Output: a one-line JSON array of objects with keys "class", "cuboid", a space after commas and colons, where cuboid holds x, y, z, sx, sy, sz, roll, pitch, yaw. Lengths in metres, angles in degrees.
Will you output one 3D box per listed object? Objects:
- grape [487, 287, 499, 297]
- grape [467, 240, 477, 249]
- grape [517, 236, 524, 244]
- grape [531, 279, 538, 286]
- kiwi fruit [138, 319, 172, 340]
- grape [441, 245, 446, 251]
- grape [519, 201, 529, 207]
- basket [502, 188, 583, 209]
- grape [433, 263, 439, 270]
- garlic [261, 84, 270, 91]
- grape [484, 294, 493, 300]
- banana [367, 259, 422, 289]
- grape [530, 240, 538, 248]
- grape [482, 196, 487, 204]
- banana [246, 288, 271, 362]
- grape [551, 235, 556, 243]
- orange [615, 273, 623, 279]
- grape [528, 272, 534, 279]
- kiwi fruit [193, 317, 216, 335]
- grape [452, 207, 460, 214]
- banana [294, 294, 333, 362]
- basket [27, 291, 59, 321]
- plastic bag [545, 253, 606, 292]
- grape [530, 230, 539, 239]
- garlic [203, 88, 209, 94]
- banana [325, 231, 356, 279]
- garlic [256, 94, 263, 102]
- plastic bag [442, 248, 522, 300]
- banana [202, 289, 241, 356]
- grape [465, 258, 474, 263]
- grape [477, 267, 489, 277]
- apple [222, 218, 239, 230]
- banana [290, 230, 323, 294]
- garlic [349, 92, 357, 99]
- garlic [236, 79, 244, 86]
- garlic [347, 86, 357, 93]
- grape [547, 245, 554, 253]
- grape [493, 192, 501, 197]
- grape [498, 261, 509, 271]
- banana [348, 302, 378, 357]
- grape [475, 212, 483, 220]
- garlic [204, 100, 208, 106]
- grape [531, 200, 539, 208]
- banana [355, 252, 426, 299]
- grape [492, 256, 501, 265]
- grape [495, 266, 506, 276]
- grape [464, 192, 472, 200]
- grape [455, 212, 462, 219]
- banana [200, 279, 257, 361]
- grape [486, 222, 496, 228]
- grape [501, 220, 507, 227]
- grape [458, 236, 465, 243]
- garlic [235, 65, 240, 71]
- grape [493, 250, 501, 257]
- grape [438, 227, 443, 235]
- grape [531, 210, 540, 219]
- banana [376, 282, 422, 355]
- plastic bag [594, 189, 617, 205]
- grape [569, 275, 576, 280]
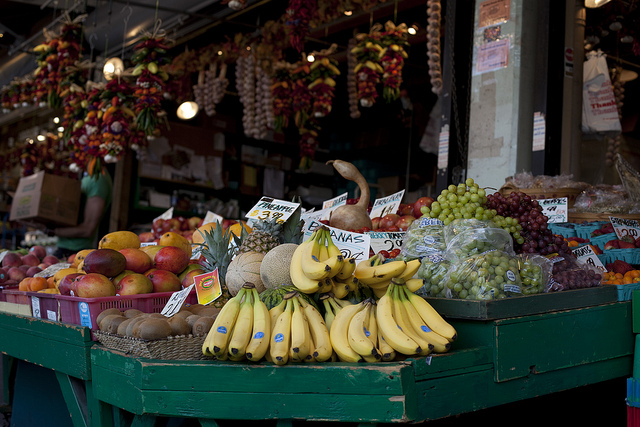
[{"class": "grape", "cuboid": [0.973, 0.444, 3.015, 0.041, 0.045, 0.024, -5, -13, 10]}, {"class": "grape", "cuboid": [0.893, 0.184, 3.131, 0.050, 0.043, 0.041, -35, 20, -27]}, {"class": "grape", "cuboid": [1.268, 0.172, 3.384, 0.034, 0.044, 0.036, -2, 18, -1]}, {"class": "grape", "cuboid": [1.252, 0.404, 3.120, 0.031, 0.041, 0.033, -4, 6, -7]}, {"class": "kiwi fruit", "cuboid": [-0.861, 0.602, 2.797, 0.118, 0.074, 0.093, 1, -14, 21]}, {"class": "grape", "cuboid": [0.745, 0.209, 3.219, 0.028, 0.023, 0.028, 6, -6, -40]}, {"class": "grape", "cuboid": [1.326, -0.055, 3.478, 0.053, 0.038, 0.015, 0, -4, -6]}, {"class": "basket", "cuboid": [1.765, -0.151, 4.223, 0.559, 0.142, 0.418, 2, 10, 34]}, {"class": "grape", "cuboid": [0.687, 0.310, 3.144, 0.024, 0.032, 0.026, -1, -4, 7]}, {"class": "garlic", "cuboid": [-0.648, -1.479, 6.384, 0.119, 0.085, 0.038, -3, -5, 28]}, {"class": "grape", "cuboid": [0.945, 0.465, 2.986, 0.041, 0.023, 0.066, -2, -4, 14]}, {"class": "banana", "cuboid": [0.417, 0.313, 3.042, 0.287, 0.172, 0.230, -2, 7, -28]}, {"class": "grape", "cuboid": [1.351, 0.197, 3.382, 0.066, 0.043, 0.025, 3, -5, -43]}, {"class": "grape", "cuboid": [1.057, -0.082, 3.423, 0.019, 0.040, 0.039, 16, 45, 29]}, {"class": "banana", "cuboid": [-0.321, 0.590, 2.766, 0.130, 0.274, 0.110, -4, 7, -15]}, {"class": "grape", "cuboid": [1.503, 0.169, 3.442, 0.026, 0.048, 0.036, 14, -35, -18]}, {"class": "orange", "cuboid": [2.026, 0.423, 3.624, 0.034, 0.037, 0.037, -2, -36, 11]}, {"class": "grape", "cuboid": [1.227, 0.363, 3.114, 0.022, 0.032, 0.017, 0, 13, 34]}, {"class": "kiwi fruit", "cuboid": [-0.632, 0.601, 2.881, 0.066, 0.060, 0.099, 5, 4, 20]}, {"class": "grape", "cuboid": [0.865, -0.015, 3.391, 0.029, 0.028, 0.033, -43, -14, -21]}, {"class": "banana", "cuboid": [-0.021, 0.596, 2.769, 0.182, 0.251, 0.160, 0, 4, -6]}, {"class": "basket", "cuboid": [-1.822, 0.605, 3.544, 0.159, 0.111, 0.237, 6, -13, -34]}, {"class": "plastic bag", "cuboid": [1.571, 0.356, 3.483, 0.367, 0.237, 0.354, -8, -4, -12]}, {"class": "grape", "cuboid": [1.365, 0.136, 3.396, 0.044, 0.049, 0.055, -6, -21, -4]}, {"class": "garlic", "cuboid": [-1.535, -1.620, 7.195, 0.053, 0.058, 0.018, -14, 10, 9]}, {"class": "banana", "cuboid": [0.128, 0.222, 2.930, 0.132, 0.276, 0.182, 1, 1, 9]}, {"class": "garlic", "cuboid": [-0.738, -1.372, 6.487, 0.042, 0.062, 0.077, 16, -24, -7]}, {"class": "plastic bag", "cuboid": [0.916, 0.357, 3.054, 0.363, 0.315, 0.333, -4, -2, 25]}, {"class": "banana", "cuboid": [-0.499, 0.565, 2.851, 0.128, 0.400, 0.080, 31, -17, -7]}, {"class": "grape", "cuboid": [0.864, 0.272, 3.082, 0.066, 0.038, 0.023, 0, -8, 16]}, {"class": "grape", "cuboid": [0.925, 0.334, 3.030, 0.045, 0.048, 0.055, -28, 24, -7]}, {"class": "apple", "cuboid": [-0.757, 0.092, 4.475, 0.094, 0.094, 0.096, 1, 7, -14]}, {"class": "banana", "cuboid": [-0.066, 0.269, 2.898, 0.213, 0.332, 0.180, 1, 6, 2]}, {"class": "garlic", "cuboid": [0.401, -1.406, 6.487, 0.069, 0.075, 0.040, 3, -40, 5]}, {"class": "garlic", "cuboid": [-1.001, -1.627, 6.790, 0.057, 0.094, 0.122, 3, -5, -42]}, {"class": "garlic", "cuboid": [0.400, -1.484, 6.557, 0.109, 0.084, 0.144, -1, -4, 4]}, {"class": "grape", "cuboid": [1.459, 0.226, 3.381, 0.036, 0.040, 0.046, -5, 15, 18]}, {"class": "grape", "cuboid": [1.169, -0.117, 3.529, 0.031, 0.019, 0.033, -4, 0, 11]}, {"class": "grape", "cuboid": [1.049, 0.306, 3.051, 0.039, 0.042, 0.052, 6, -5, -18]}, {"class": "banana", "cuboid": [0.218, 0.596, 2.760, 0.144, 0.259, 0.145, -1, -4, 3]}, {"class": "grape", "cuboid": [0.986, 0.019, 3.319, 0.035, 0.031, 0.033, 24, 50, 25]}, {"class": "garlic", "cuboid": [-1.541, -1.462, 7.216, 0.032, 0.066, 0.065, 14, 44, 24]}, {"class": "grape", "cuboid": [1.416, -0.057, 3.511, 0.039, 0.055, 0.106, -3, -5, 30]}, {"class": "banana", "cuboid": [0.396, 0.332, 2.997, 0.338, 0.239, 0.213, 2, 2, 32]}, {"class": "grape", "cuboid": [1.008, 0.273, 3.063, 0.037, 0.039, 0.046, 20, -31, 16]}, {"class": "grape", "cuboid": [1.025, 0.330, 3.057, 0.048, 0.058, 0.047, -32, -41, 19]}, {"class": "grape", "cuboid": [0.939, -0.109, 3.393, 0.036, 0.038, 0.046, 12, 40, -10]}, {"class": "grape", "cuboid": [0.868, 0.017, 3.350, 0.030, 0.033, 0.036, 2, 11, -1]}, {"class": "banana", "cuboid": [-0.460, 0.581, 2.769, 0.179, 0.429, 0.164, 19, -40, 2]}, {"class": "grape", "cuboid": [1.037, 0.073, 3.230, 0.040, 0.029, 0.040, 34, -1, -25]}, {"class": "grape", "cuboid": [1.157, 0.065, 3.359, 0.032, 0.035, 0.019, 2, -1, 3]}, {"class": "grape", "cuboid": [0.838, 0.159, 3.168, 0.036, 0.033, 0.017, -2, -4, 14]}, {"class": "garlic", "cuboid": [-1.047, -1.825, 6.846, 0.047, 0.024, 0.062, 18, -34, 10]}, {"class": "grape", "cuboid": [1.021, 0.234, 3.079, 0.027, 0.020, 0.034, -19, 14, -27]}, {"class": "grape", "cuboid": [0.743, 0.107, 3.305, 0.020, 0.035, 0.036, 0, -27, -5]}, {"class": "grape", "cuboid": [1.384, 0.011, 3.429, 0.056, 0.057, 0.029, 2, -5, -29]}, {"class": "banana", "cuboid": [0.406, 0.545, 2.775, 0.208, 0.278, 0.199, 0, 7, -5]}, {"class": "plastic bag", "cuboid": [2.397, -0.129, 4.481, 0.166, 0.141, 0.299, -3, -4, 29]}, {"class": "grape", "cuboid": [1.549, 0.391, 3.278, 0.039, 0.027, 0.008, 0, -4, -12]}]
